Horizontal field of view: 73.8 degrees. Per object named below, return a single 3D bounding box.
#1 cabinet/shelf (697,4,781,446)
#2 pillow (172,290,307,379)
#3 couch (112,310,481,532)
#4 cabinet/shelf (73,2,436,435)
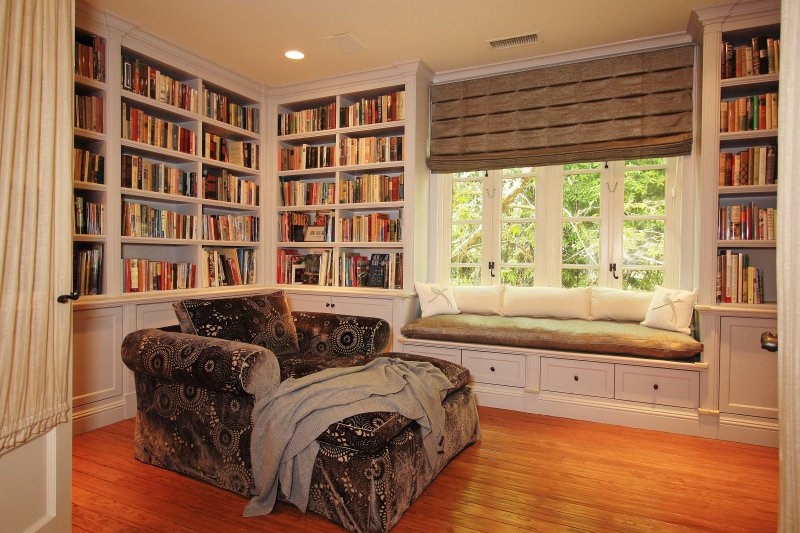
[{"bbox_3d":[2.630,-0.329,4.187,0.610,3.331,0.583,0,2,31],"label":"cabinet/shelf"},{"bbox_3d":[-1.146,0.405,3.724,0.639,0.174,0.582,10,8,-44],"label":"pillow"},{"bbox_3d":[-0.762,0.829,3.385,1.771,0.697,1.372,0,1,27],"label":"couch"},{"bbox_3d":[-1.427,-0.441,5.995,3.503,4.094,3.177,1,3,30],"label":"cabinet/shelf"}]
